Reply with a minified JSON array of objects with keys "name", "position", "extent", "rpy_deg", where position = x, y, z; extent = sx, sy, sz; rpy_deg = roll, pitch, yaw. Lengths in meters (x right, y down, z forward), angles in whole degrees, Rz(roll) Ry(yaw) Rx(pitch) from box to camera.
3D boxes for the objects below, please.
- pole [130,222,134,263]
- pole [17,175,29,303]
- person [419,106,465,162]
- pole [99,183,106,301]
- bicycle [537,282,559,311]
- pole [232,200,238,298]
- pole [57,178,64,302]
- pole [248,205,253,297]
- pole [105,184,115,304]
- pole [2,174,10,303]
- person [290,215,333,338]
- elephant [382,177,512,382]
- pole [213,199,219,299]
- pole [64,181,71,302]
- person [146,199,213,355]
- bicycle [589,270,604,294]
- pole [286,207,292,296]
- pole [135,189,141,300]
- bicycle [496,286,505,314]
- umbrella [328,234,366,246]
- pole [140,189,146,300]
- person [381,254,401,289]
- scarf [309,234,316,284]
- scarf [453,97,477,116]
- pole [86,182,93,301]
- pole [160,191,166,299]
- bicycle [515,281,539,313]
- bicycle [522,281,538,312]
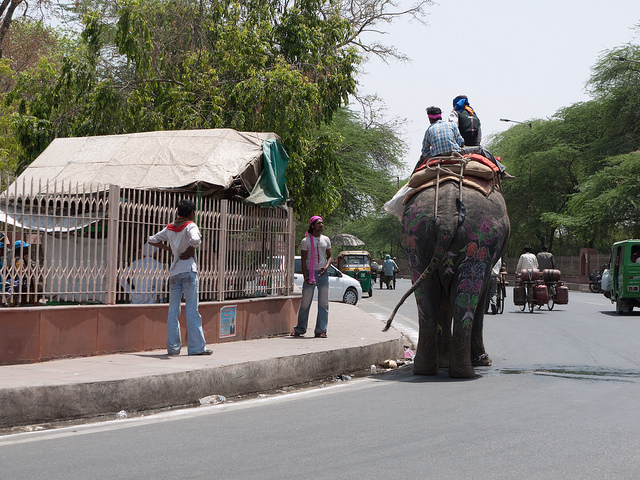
[{"name":"pole","position":[-2.712,0.045,10.549],"extent":[0.041,0.580,0.082],"rpy_deg":[0,3,-24]},{"name":"pole","position":[-3.889,0.020,9.571],"extent":[0.118,1.612,0.546],"rpy_deg":[0,3,-22]},{"name":"person","position":[1.787,-1.559,10.714],"extent":[0.612,0.840,0.886],"rpy_deg":[2,3,7]},{"name":"pole","position":[-3.065,0.101,10.297],"extent":[0.066,1.525,0.144],"rpy_deg":[0,3,-16]},{"name":"bicycle","position":[7.138,1.706,22.602],"extent":[0.327,0.816,1.697],"rpy_deg":[2,3,17]},{"name":"pole","position":[-1.426,0.183,12.195],"extent":[0.068,1.536,0.162],"rpy_deg":[1,3,-7]},{"name":"pole","position":[-3.472,0.061,9.805],"extent":[0.075,1.601,0.345],"rpy_deg":[0,3,-21]},{"name":"pole","position":[-1.211,0.205,12.609],"extent":[0.058,1.534,0.154],"rpy_deg":[1,3,-3]},{"name":"pole","position":[-2.967,0.069,10.299],"extent":[0.115,1.673,0.113],"rpy_deg":[1,3,-4]},{"name":"pole","position":[-4.062,0.175,9.444],"extent":[0.058,1.301,0.544],"rpy_deg":[0,3,-23]},{"name":"person","position":[-0.133,0.649,12.764],"extent":[0.610,2.104,0.990],"rpy_deg":[1,3,-1]},{"name":"elephant","position":[1.798,0.532,10.146],"extent":[1.426,2.773,1.184],"rpy_deg":[1,3,2]},{"name":"pole","position":[-1.677,0.170,11.785],"extent":[0.065,1.572,0.117],"rpy_deg":[1,3,4]},{"name":"pole","position":[-3.437,0.050,9.952],"extent":[0.065,1.583,0.142],"rpy_deg":[0,3,-19]},{"name":"person","position":[-1.908,0.518,10.186],"extent":[0.851,2.133,0.436],"rpy_deg":[3,3,32]},{"name":"bicycle","position":[13.418,2.158,35.820],"extent":[0.605,1.038,1.996],"rpy_deg":[2,3,20]},{"name":"pole","position":[-0.587,0.223,13.623],"extent":[0.069,1.613,0.196],"rpy_deg":[2,3,19]},{"name":"pole","position":[-2.660,0.078,10.675],"extent":[0.045,1.582,0.161],"rpy_deg":[2,3,6]},{"name":"bicycle","position":[5.082,1.699,20.797],"extent":[0.140,0.737,0.734],"rpy_deg":[4,-18,14]},{"name":"umbrella","position":[1.522,0.082,43.242],"extent":[1.501,0.692,2.495],"rpy_deg":[1,3,-5]},{"name":"pole","position":[-2.603,0.089,10.745],"extent":[0.039,1.576,0.180],"rpy_deg":[1,3,-2]},{"name":"person","position":[3.842,1.774,39.589],"extent":[1.064,1.161,1.692],"rpy_deg":[0,-5,0]},{"name":"scarf","position":[-0.148,0.319,12.648],"extent":[0.090,0.804,0.272],"rpy_deg":[1,3,-1]},{"name":"scarf","position":[2.151,-2.065,11.227],"extent":[0.250,0.236,0.072],"rpy_deg":[0,3,-22]},{"name":"pole","position":[-3.196,0.069,10.127],"extent":[0.067,1.579,0.181],"rpy_deg":[0,3,-21]},{"name":"pole","position":[-2.374,0.095,11.037],"extent":[0.052,1.591,0.289],"rpy_deg":[1,3,-7]},{"name":"bicycle","position":[6.081,1.671,21.501],"extent":[0.409,0.843,0.762],"rpy_deg":[0,3,-17]},{"name":"bicycle","position":[6.153,1.675,21.621],"extent":[0.377,0.896,0.938],"rpy_deg":[1,3,1]}]
